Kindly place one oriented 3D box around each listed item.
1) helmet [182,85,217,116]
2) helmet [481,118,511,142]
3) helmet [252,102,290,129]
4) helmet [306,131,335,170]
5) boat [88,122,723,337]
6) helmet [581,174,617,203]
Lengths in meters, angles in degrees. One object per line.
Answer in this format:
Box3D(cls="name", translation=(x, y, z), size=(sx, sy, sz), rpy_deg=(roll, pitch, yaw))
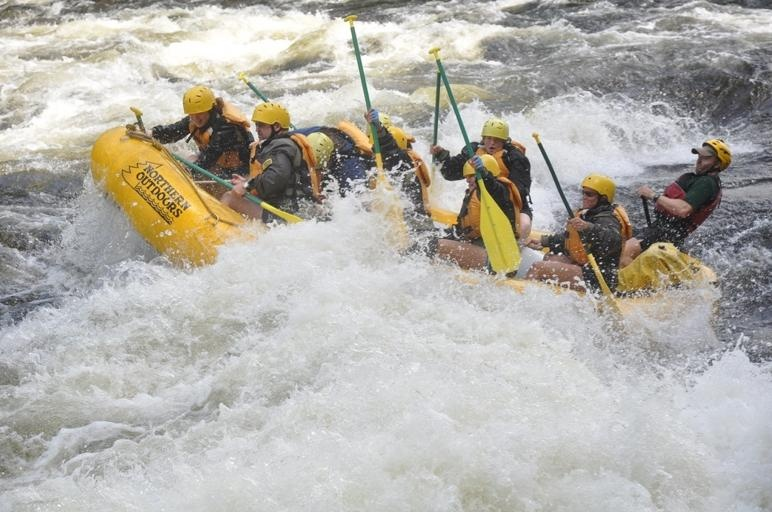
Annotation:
Box3D(cls="helmet", translation=(-2.752, -2.290, 15.052), size=(0.432, 0.286, 0.462), rpy_deg=(1, 32, 9))
Box3D(cls="helmet", translation=(1.638, -1.872, 15.136), size=(0.337, 0.283, 0.344), rpy_deg=(11, 80, 5))
Box3D(cls="helmet", translation=(-1.644, -1.997, 14.490), size=(0.518, 0.259, 0.352), rpy_deg=(-9, 20, -16))
Box3D(cls="helmet", translation=(-0.915, -1.513, 14.511), size=(0.420, 0.531, 0.462), rpy_deg=(35, 89, -5))
Box3D(cls="boat", translation=(-0.040, -0.511, 13.832), size=(7.386, 1.467, 3.241), rpy_deg=(20, 8, -8))
Box3D(cls="helmet", translation=(3.039, -0.962, 14.303), size=(0.489, 0.313, 0.359), rpy_deg=(-7, 21, -7))
